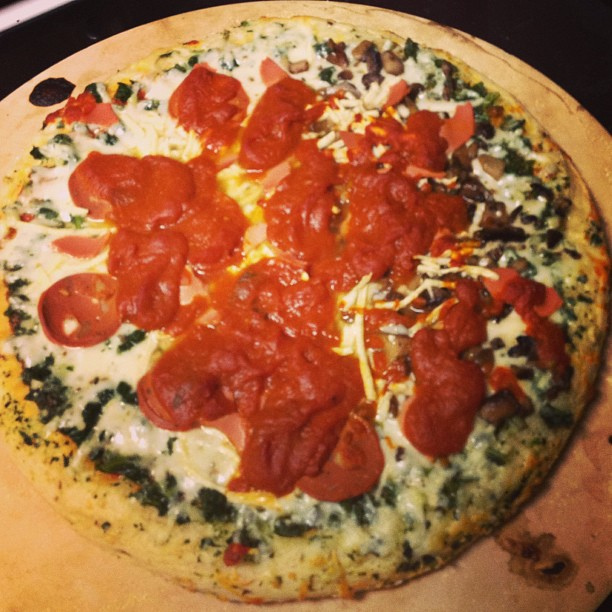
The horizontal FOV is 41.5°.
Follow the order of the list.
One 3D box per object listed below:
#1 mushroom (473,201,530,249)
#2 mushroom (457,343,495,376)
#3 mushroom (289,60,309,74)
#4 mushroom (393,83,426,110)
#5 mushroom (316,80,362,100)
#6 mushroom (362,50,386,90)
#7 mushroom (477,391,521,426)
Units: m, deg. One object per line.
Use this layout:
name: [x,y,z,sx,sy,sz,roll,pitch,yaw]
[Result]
mushroom: [1.312,-0.538,5.490,0.421,0.202,0.343,18,27,35]
mushroom: [1.151,0.332,5.278,0.232,0.108,0.193,35,70,16]
mushroom: [-0.060,-1.720,5.811,0.155,0.042,0.066,-10,76,0]
mushroom: [0.718,-1.496,5.762,0.143,0.071,0.251,36,76,-6]
mushroom: [0.233,-1.537,5.717,0.222,0.063,0.201,0,22,20]
mushroom: [0.502,-1.748,5.847,0.087,0.162,0.281,-15,47,-10]
mushroom: [1.265,0.661,5.267,0.264,0.084,0.170,-34,68,-15]
